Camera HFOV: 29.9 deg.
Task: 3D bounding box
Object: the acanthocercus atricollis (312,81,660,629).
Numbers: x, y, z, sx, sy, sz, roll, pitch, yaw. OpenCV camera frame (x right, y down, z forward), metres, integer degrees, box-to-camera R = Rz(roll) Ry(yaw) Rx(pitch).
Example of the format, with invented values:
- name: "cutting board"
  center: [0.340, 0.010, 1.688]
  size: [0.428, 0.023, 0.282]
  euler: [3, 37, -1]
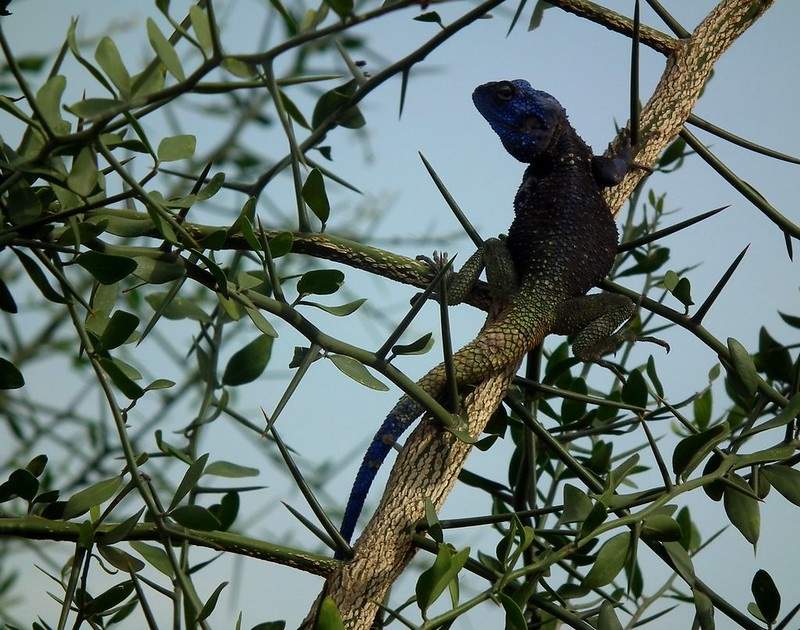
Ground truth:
- name: "acanthocercus atricollis"
  center: [0.208, -0.025, 2.684]
  size: [0.392, 1.051, 0.161]
  euler: [16, -22, 11]
